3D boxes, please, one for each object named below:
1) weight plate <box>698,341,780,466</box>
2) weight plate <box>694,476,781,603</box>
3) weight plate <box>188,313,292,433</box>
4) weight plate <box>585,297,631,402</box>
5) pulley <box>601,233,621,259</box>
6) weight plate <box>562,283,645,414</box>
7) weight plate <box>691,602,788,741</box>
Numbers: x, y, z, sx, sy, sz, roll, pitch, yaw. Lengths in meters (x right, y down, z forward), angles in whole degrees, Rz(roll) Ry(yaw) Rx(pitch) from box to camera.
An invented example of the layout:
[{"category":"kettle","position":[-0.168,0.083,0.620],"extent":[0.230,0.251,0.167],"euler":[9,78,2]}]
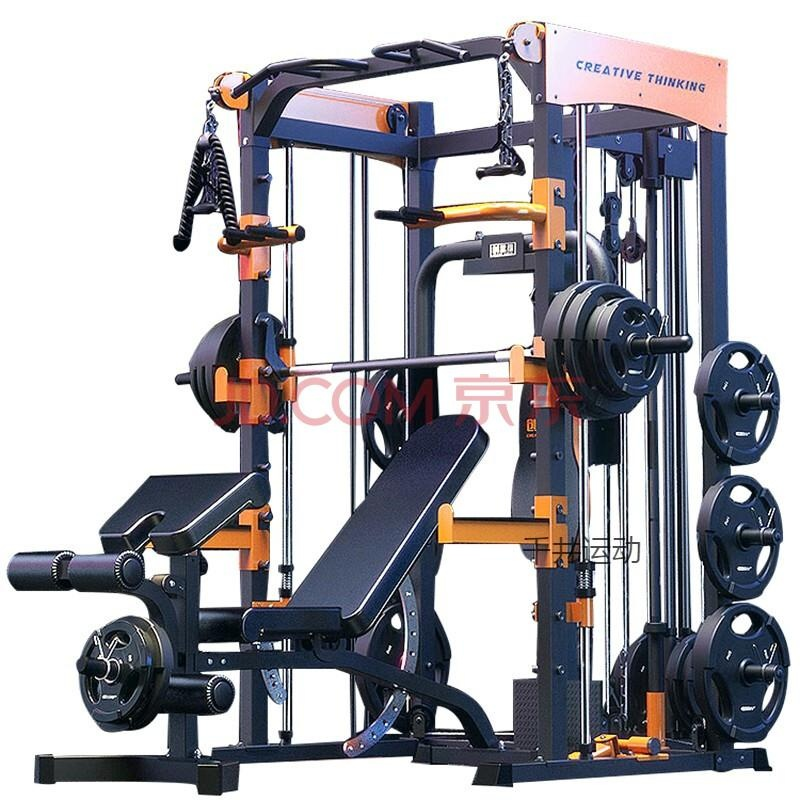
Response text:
[{"category":"weight plate","position":[1.314,0.021,9.618],"extent":[0.365,0.512,0.291],"euler":[3,-7,-41]},{"category":"weight plate","position":[1.403,0.548,9.906],"extent":[0.340,0.512,0.244],"euler":[-1,0,-25]},{"category":"weight plate","position":[-0.637,-0.130,10.327],"extent":[0.389,0.552,0.525],"euler":[1,3,-33]},{"category":"weight plate","position":[0.800,-0.181,9.379],"extent":[0.080,0.317,0.239],"euler":[-2,8,21]},{"category":"pulley","position":[0.915,-0.663,10.572],"extent":[0.033,0.116,0.072],"euler":[-9,5,17]},{"category":"weight plate","position":[0.849,-0.200,9.525],"extent":[0.344,0.516,0.244],"euler":[-1,0,-26]},{"category":"weight plate","position":[1.402,1.101,9.968],"extent":[0.390,0.584,0.360],"euler":[1,-3,-22]}]
